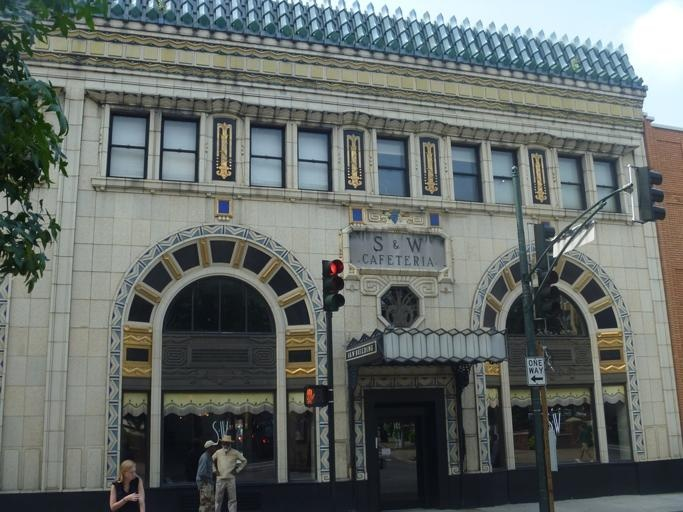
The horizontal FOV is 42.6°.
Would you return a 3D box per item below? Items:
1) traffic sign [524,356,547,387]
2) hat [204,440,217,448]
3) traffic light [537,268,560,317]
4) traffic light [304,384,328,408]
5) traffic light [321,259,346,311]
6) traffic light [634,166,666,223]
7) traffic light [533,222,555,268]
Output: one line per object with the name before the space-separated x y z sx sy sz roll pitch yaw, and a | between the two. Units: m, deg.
traffic sign | 5.529 3.257 24.923 0.504 0.891 0.333 -3 -16 4
hat | -3.654 5.302 24.739 0.388 0.212 0.323 11 -19 -31
traffic light | 5.842 1.038 24.946 0.667 1.379 0.757 -5 -16 13
traffic light | -0.677 3.651 22.971 0.502 0.626 0.734 20 -10 -5
traffic light | -0.216 0.650 22.565 0.457 1.391 1.024 2 -16 -13
traffic light | 7.821 -1.530 22.326 0.680 1.462 0.502 -5 -24 23
traffic light | 6.090 -0.383 26.216 0.463 1.401 0.299 -3 -28 17
